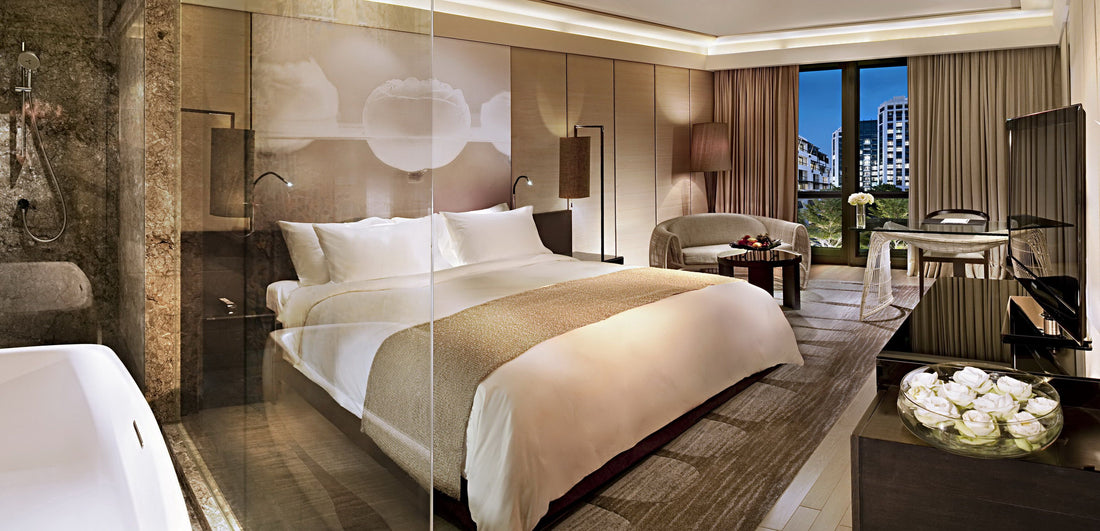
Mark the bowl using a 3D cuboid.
[{"bbox_3d":[2.381,0.807,3.624,0.681,0.192,0.621,-4,12,1],"label":"bowl"}]

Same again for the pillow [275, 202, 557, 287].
[{"bbox_3d":[-0.992,-0.136,4.943,1.555,0.236,0.364,-9,30,-37],"label":"pillow"}]

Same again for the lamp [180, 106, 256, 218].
[{"bbox_3d":[-2.485,-0.776,4.868,0.243,0.836,1.059,-10,12,-42],"label":"lamp"}]

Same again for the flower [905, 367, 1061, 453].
[{"bbox_3d":[2.363,0.799,3.630,0.646,0.208,0.596,-9,15,-11],"label":"flower"}]

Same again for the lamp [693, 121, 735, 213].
[{"bbox_3d":[2.397,-1.484,9.840,0.573,1.335,0.767,1,9,14],"label":"lamp"}]

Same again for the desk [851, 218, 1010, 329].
[{"bbox_3d":[4.216,-0.026,7.466,1.553,0.814,1.475,1,4,26],"label":"desk"}]
